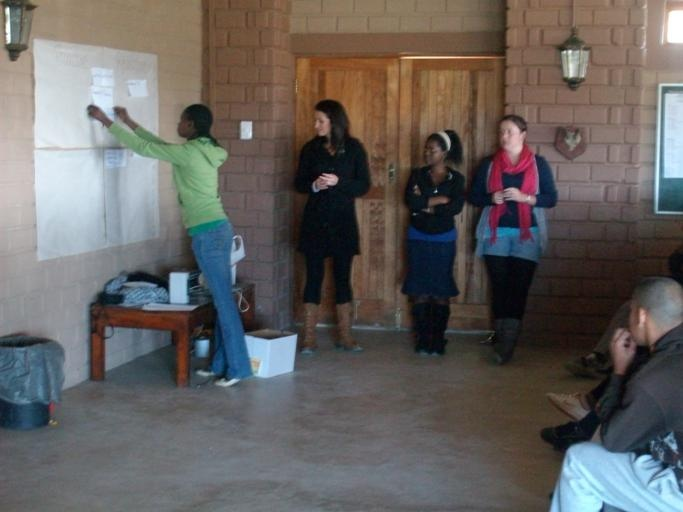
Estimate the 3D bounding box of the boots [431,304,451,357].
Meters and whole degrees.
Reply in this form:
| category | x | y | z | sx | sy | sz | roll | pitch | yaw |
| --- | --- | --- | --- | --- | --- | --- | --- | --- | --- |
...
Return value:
| category | x | y | z | sx | sy | sz | roll | pitch | yaw |
| --- | --- | --- | --- | --- | --- | --- | --- | --- | --- |
| boots | 0.903 | 0.658 | 5.494 | 0.138 | 0.453 | 0.198 | 3 | 10 | 8 |

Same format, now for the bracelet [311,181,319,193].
| category | x | y | z | sx | sy | sz | roll | pitch | yaw |
| --- | --- | --- | --- | --- | --- | --- | --- | --- | --- |
| bracelet | -0.246 | -0.608 | 5.293 | 0.073 | 0.075 | 0.083 | -22 | 12 | 29 |

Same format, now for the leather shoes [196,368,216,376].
| category | x | y | z | sx | sy | sz | roll | pitch | yaw |
| --- | --- | --- | --- | --- | --- | --- | --- | --- | --- |
| leather shoes | -1.121 | 0.947 | 4.895 | 0.157 | 0.056 | 0.060 | 4 | 0 | 2 |

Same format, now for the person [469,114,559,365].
| category | x | y | z | sx | sy | sz | roll | pitch | yaw |
| --- | --- | --- | --- | --- | --- | --- | --- | --- | --- |
| person | 1.556 | -0.297 | 5.529 | 0.582 | 1.957 | 0.636 | -6 | 12 | -34 |

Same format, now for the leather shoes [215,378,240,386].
| category | x | y | z | sx | sy | sz | roll | pitch | yaw |
| --- | --- | --- | --- | --- | --- | --- | --- | --- | --- |
| leather shoes | -0.896 | 0.976 | 4.680 | 0.198 | 0.068 | 0.075 | -3 | 9 | -1 |

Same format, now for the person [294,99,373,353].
| category | x | y | z | sx | sy | sz | roll | pitch | yaw |
| --- | --- | --- | --- | --- | --- | --- | --- | --- | --- |
| person | -0.095 | -0.252 | 5.436 | 0.664 | 2.248 | 0.393 | 0 | 10 | -5 |

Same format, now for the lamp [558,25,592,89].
| category | x | y | z | sx | sy | sz | roll | pitch | yaw |
| --- | --- | --- | --- | --- | --- | --- | --- | --- | --- |
| lamp | 2.109 | -1.793 | 5.422 | 0.247 | 0.540 | 0.185 | 4 | 11 | 17 |

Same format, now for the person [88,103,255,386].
| category | x | y | z | sx | sy | sz | roll | pitch | yaw |
| --- | --- | --- | --- | --- | --- | --- | --- | --- | --- |
| person | -1.236 | -0.088 | 4.682 | 1.057 | 2.149 | 0.570 | 0 | 10 | -4 |

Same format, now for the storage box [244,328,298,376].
| category | x | y | z | sx | sy | sz | roll | pitch | yaw |
| --- | --- | --- | --- | --- | --- | --- | --- | --- | --- |
| storage box | -0.619 | 0.796 | 4.995 | 0.375 | 0.332 | 0.380 | 1 | 2 | 41 |

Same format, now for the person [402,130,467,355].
| category | x | y | z | sx | sy | sz | roll | pitch | yaw |
| --- | --- | --- | --- | --- | --- | --- | --- | --- | --- |
| person | 0.830 | -0.122 | 5.489 | 0.524 | 1.991 | 0.454 | 2 | 10 | 5 |

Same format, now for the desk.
| category | x | y | z | sx | sy | sz | roll | pitch | yaw |
| --- | --- | --- | --- | --- | --- | --- | --- | --- | --- |
| desk | -1.490 | 0.759 | 4.818 | 0.743 | 0.477 | 1.027 | 2 | 5 | 12 |
